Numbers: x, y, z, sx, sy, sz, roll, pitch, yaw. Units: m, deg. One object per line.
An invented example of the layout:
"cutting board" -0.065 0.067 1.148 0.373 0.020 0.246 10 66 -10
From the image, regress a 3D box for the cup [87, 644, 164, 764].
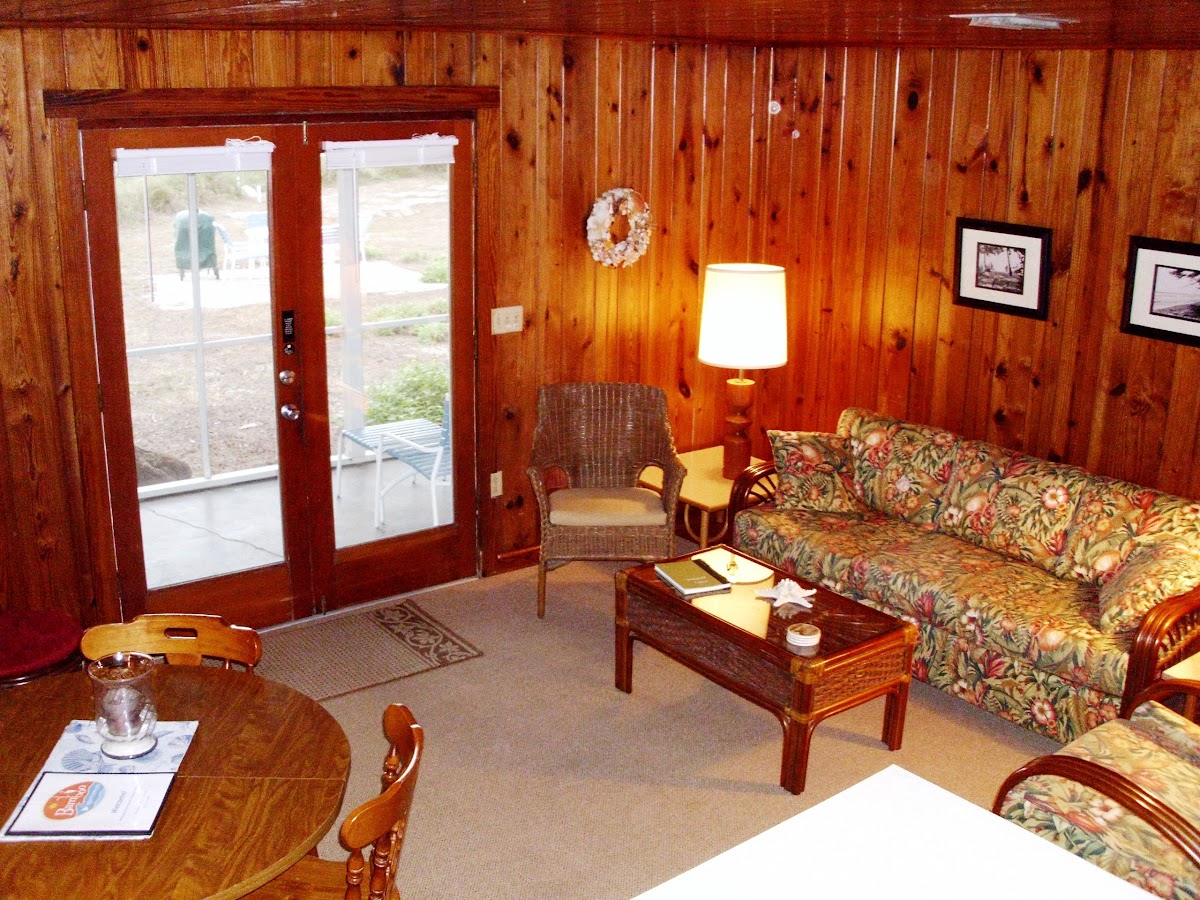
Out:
"cup" -1.258 0.687 2.490 0.244 0.278 0.214 1 24 -10

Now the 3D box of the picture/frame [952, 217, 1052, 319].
"picture/frame" 2.093 -0.945 4.893 0.619 0.441 0.042 3 1 -23

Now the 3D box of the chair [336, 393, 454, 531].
"chair" -1.085 0.011 5.243 0.526 0.606 0.446 2 19 -32

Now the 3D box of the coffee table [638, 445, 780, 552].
"coffee table" 0.691 0.232 5.684 0.712 0.372 0.690 -15 27 -35

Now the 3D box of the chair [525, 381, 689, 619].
"chair" 0.043 0.250 5.212 1.026 0.982 0.985 18 26 39

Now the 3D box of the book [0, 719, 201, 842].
"book" -1.251 0.834 2.371 0.347 0.067 0.406 -3 15 -5

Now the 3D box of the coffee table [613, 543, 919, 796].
"coffee table" 0.682 0.906 4.223 0.775 0.483 1.118 -11 23 -37

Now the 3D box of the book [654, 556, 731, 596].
"book" 0.412 0.567 4.222 0.184 0.038 0.182 -7 17 -29
